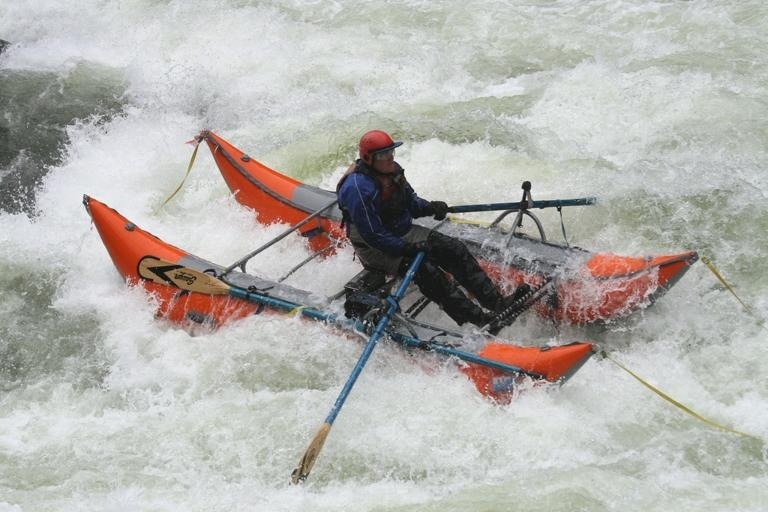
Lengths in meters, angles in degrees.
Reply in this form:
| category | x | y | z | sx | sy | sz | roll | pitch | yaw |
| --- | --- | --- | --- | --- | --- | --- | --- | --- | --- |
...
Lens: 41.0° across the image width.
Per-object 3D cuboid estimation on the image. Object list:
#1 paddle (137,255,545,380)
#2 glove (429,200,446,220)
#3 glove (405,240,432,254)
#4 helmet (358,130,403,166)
| category | x | y | z | sx | sy | sz | roll | pitch | yaw |
| --- | --- | --- | --- | --- | --- | --- | --- | --- | --- |
| paddle | -0.368 | 0.878 | 12.467 | 5.537 | 0.498 | 0.881 | 17 | -26 | -22 |
| glove | 0.642 | -0.533 | 12.025 | 0.169 | 0.211 | 0.211 | 16 | 5 | 32 |
| glove | 0.395 | -0.115 | 11.641 | 0.195 | 0.046 | 0.181 | 4 | 33 | 12 |
| helmet | -0.057 | -1.244 | 11.693 | 0.485 | 0.229 | 0.325 | -13 | 14 | 19 |
